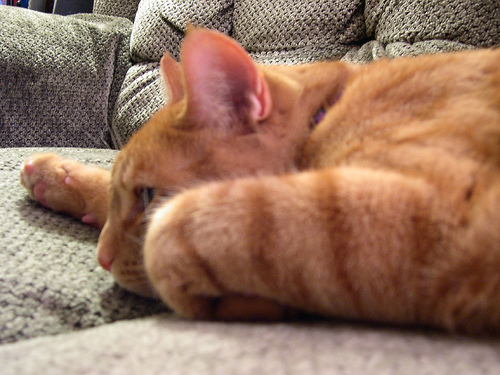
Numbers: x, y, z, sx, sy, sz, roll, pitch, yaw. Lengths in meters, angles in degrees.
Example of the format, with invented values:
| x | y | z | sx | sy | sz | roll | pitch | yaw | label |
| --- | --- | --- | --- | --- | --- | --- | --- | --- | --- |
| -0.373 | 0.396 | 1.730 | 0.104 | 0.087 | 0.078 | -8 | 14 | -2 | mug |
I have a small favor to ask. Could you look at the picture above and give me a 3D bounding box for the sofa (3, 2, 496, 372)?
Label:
| x | y | z | sx | sy | sz | roll | pitch | yaw | label |
| --- | --- | --- | --- | --- | --- | --- | --- | --- | --- |
| -0.004 | -0.004 | 0.948 | 0.347 | 0.481 | 0.628 | 17 | 8 | -40 | sofa |
